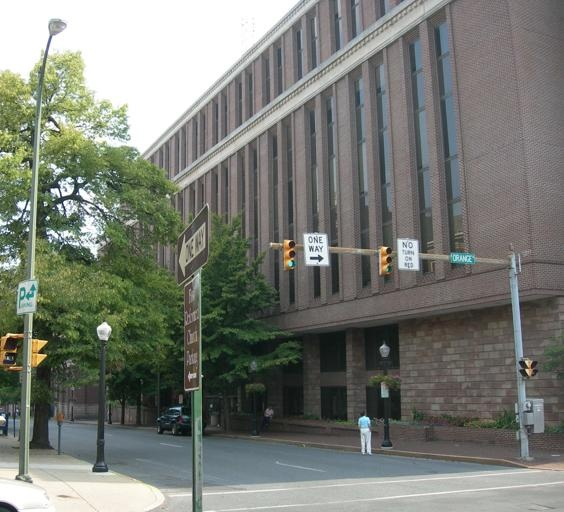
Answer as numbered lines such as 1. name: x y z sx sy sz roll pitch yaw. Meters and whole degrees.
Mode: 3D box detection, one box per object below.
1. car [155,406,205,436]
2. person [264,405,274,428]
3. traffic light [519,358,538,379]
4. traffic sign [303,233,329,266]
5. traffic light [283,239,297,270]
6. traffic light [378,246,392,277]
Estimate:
1. car: -5.989 9.781 51.025 1.511 1.549 3.435 6 -10 -28
2. person: -0.884 10.096 53.213 0.575 1.280 1.124 -1 -14 -2
3. traffic light: 8.812 4.003 30.818 0.657 0.691 0.491 -3 -14 4
4. traffic sign: 1.082 -0.236 27.261 1.039 1.387 0.099 4 -20 -23
5. traffic light: 0.237 -0.145 26.665 0.398 1.070 1.035 -2 -14 0
6. traffic light: 3.329 0.073 27.634 0.430 0.971 0.617 -3 -14 6
